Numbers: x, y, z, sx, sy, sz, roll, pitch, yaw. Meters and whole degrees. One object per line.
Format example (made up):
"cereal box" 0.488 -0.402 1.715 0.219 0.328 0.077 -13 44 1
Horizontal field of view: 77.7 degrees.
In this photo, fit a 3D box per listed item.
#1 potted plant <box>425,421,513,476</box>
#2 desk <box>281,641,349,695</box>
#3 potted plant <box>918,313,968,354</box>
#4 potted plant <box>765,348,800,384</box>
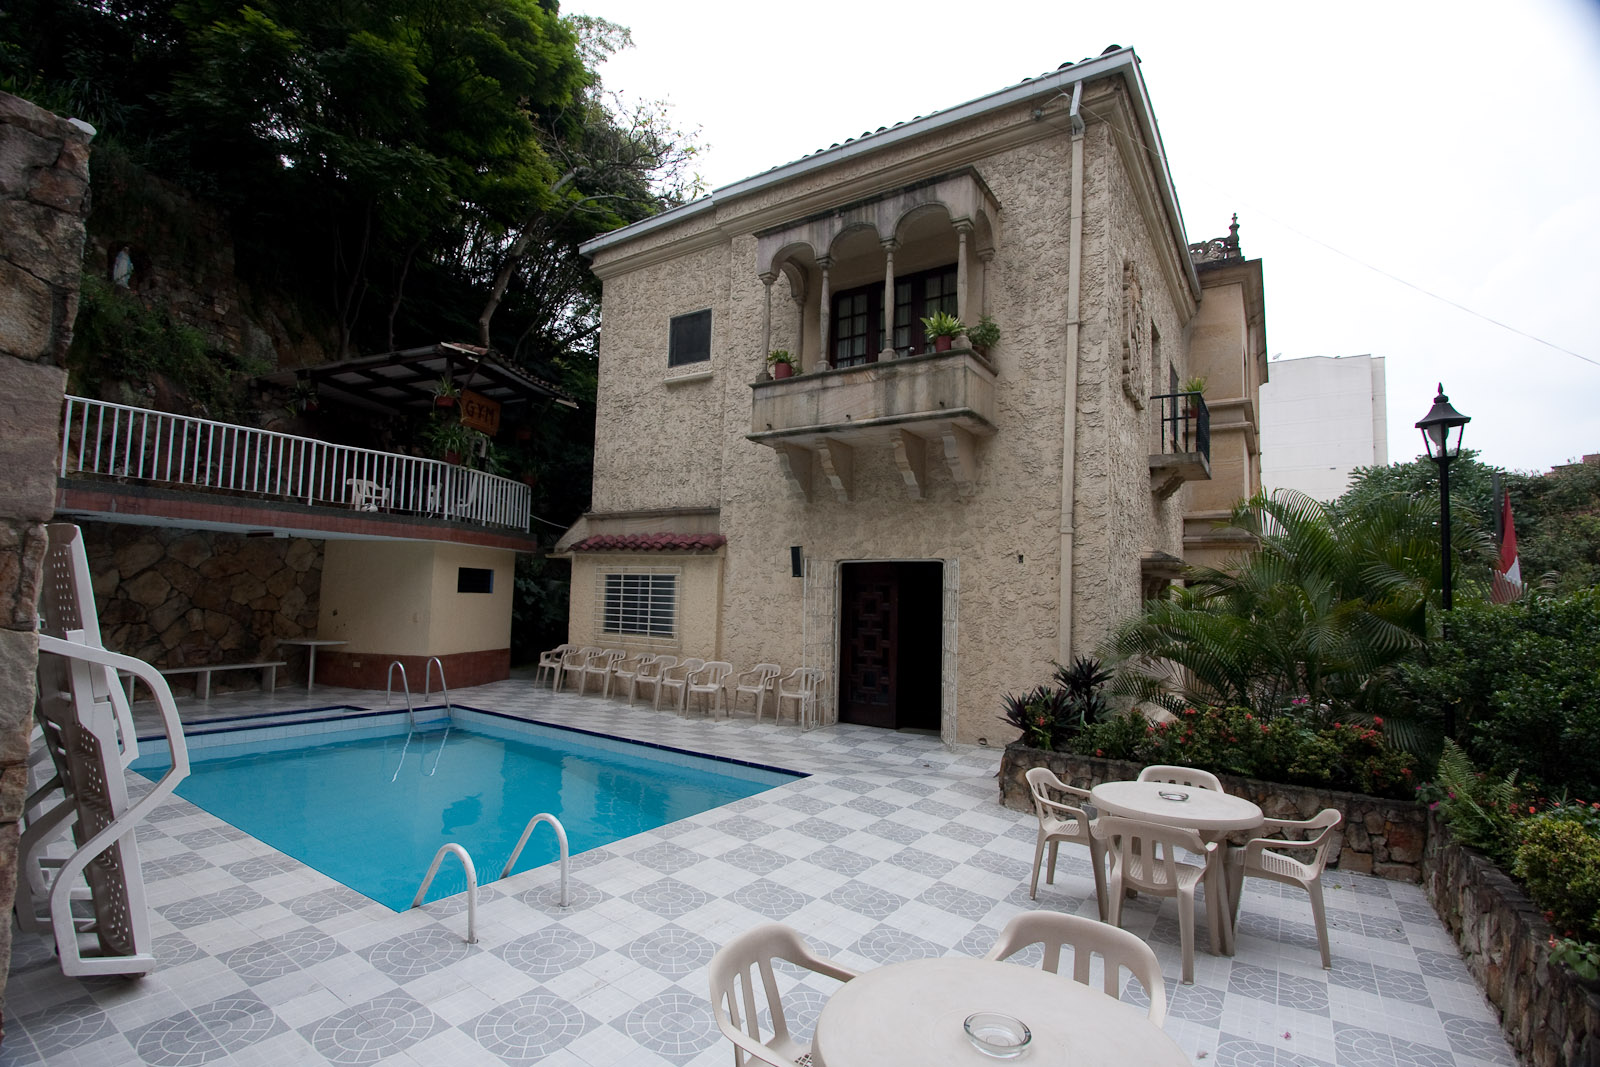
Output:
"potted plant" -6.847 -1.726 20.112 0.936 1.021 1.979 0 3 10
"desk" -9.466 2.546 19.062 1.072 0.988 1.053 0 -1 -5
"potted plant" 2.303 -3.125 15.581 0.589 0.659 1.062 -1 3 -7
"potted plant" -0.320 -2.849 16.946 0.603 0.559 0.588 4 -6 -37
